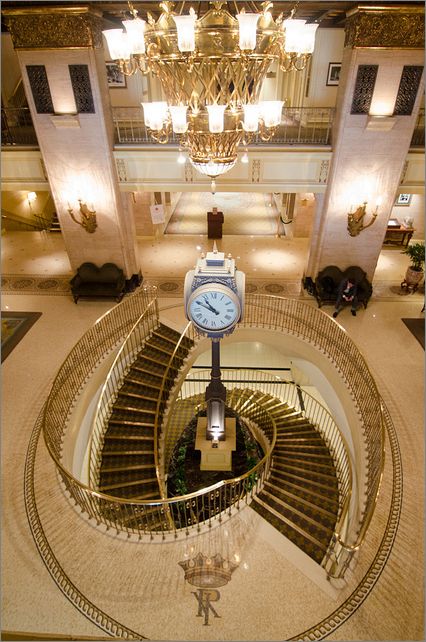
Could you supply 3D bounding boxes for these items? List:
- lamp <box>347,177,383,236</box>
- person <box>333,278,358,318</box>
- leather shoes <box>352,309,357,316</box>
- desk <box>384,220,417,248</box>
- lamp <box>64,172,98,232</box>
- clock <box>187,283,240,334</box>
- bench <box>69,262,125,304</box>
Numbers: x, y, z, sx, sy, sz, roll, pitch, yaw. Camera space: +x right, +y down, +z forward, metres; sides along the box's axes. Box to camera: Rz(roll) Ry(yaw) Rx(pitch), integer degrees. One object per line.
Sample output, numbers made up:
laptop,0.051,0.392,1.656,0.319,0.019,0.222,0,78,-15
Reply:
lamp,3.382,-2.480,8.086,0.672,1.284,0.582,11,32,20
person,3.114,-0.519,8.487,0.559,1.047,0.727,2,59,7
leather shoes,3.274,-0.197,8.418,0.067,0.149,0.161,-4,60,7
desk,6.432,-3.045,12.528,0.895,0.836,1.054,11,33,19
lamp,-3.103,-2.528,8.465,0.629,1.074,0.596,-24,37,-34
clock,0.001,-0.056,4.398,0.656,0.139,0.893,2,46,-4
bench,-2.937,-0.964,9.112,1.347,0.795,0.800,1,31,3
